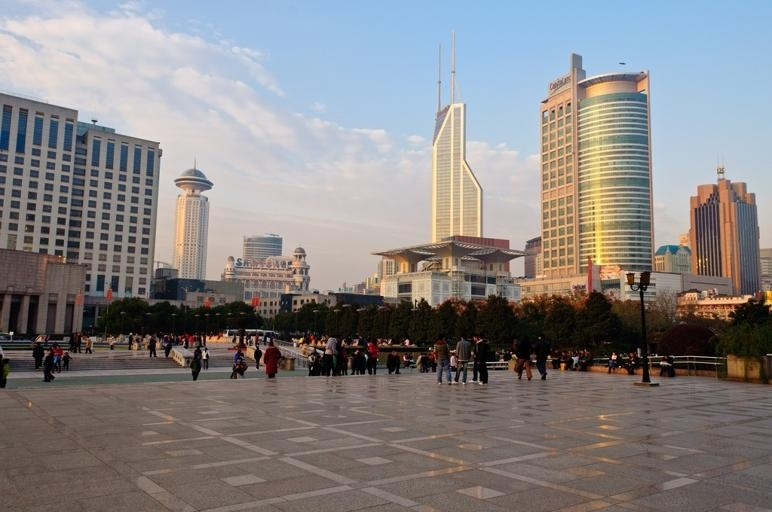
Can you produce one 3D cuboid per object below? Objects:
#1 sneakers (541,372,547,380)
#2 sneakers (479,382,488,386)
[{"bbox_3d":[7.448,5.637,33.468,0.220,0.241,0.596,-3,-21,5],"label":"sneakers"},{"bbox_3d":[4.187,5.445,30.707,0.125,0.131,0.359,3,-15,-29],"label":"sneakers"}]
